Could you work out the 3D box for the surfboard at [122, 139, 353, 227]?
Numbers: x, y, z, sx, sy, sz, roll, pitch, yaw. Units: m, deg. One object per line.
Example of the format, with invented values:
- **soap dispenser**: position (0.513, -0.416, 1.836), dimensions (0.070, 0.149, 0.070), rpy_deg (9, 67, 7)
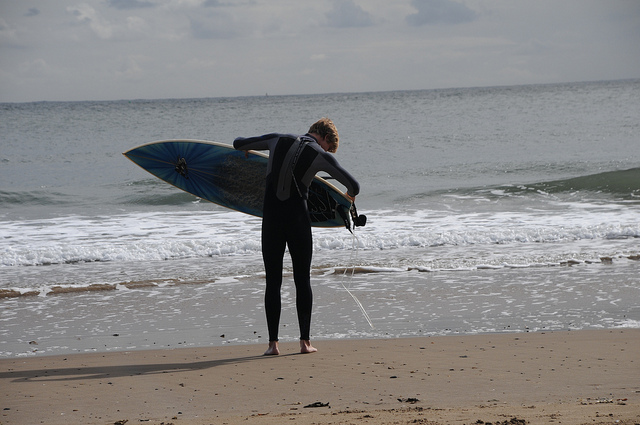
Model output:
- **surfboard**: position (-2.003, -0.704, 18.500), dimensions (0.741, 1.208, 6.353), rpy_deg (-16, 17, -38)
